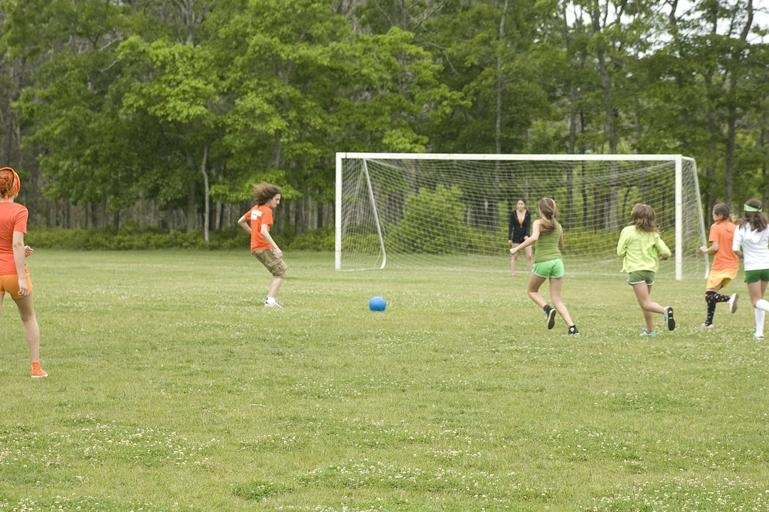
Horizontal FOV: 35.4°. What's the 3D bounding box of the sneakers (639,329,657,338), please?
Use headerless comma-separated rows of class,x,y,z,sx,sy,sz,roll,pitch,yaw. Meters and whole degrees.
sneakers,8.348,2.458,38.327,0.224,0.160,0.419,0,3,-37

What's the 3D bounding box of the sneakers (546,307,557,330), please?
sneakers,5.323,1.980,38.183,0.272,0.625,0.288,-6,8,-17

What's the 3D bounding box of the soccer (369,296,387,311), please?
soccer,-0.205,1.632,40.723,0.531,0.454,0.498,-10,-5,-26

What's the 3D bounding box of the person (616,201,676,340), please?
person,8.229,0.430,37.953,1.664,3.018,1.115,-2,1,10
